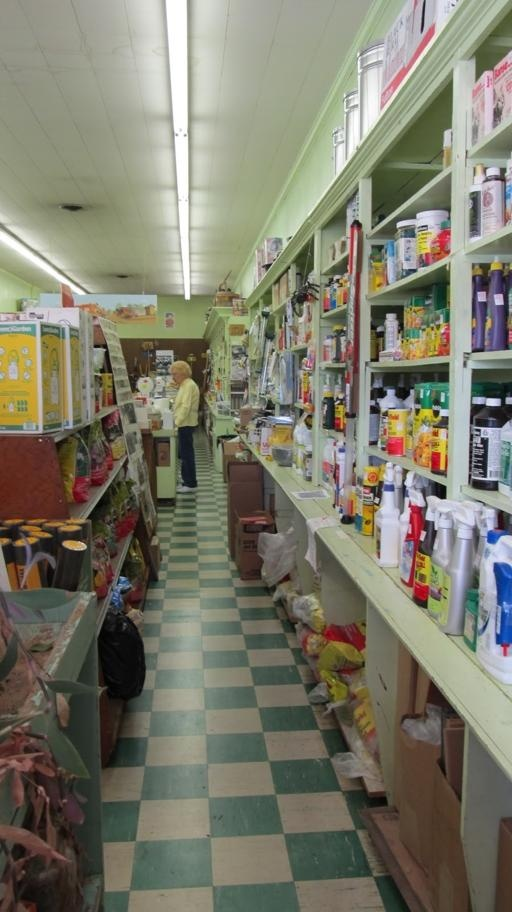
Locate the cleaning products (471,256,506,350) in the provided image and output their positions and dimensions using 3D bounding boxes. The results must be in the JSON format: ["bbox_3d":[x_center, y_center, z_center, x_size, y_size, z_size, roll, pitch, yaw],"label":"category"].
[{"bbox_3d":[0.578,-0.374,1.436,0.072,0.231,0.199,0,6,12],"label":"cleaning products"}]

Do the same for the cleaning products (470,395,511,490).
[{"bbox_3d":[0.575,-0.027,1.400,0.083,0.225,0.064,-1,5,-5],"label":"cleaning products"}]

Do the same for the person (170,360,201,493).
[{"bbox_3d":[-0.988,-0.433,7.994,0.366,1.790,1.081,-1,5,-8],"label":"person"}]
